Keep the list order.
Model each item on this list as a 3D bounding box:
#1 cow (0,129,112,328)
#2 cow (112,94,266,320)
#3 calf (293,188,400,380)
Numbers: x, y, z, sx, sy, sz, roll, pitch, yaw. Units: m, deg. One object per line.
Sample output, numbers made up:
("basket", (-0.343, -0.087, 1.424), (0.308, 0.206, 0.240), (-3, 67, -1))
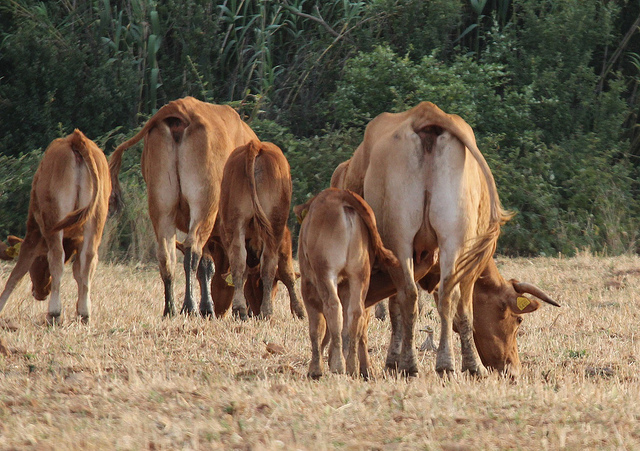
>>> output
("cow", (-3.822, 0.016, 14.163), (1.226, 2.792, 1.330), (3, 12, 4))
("cow", (-2.006, -0.166, 16.985), (1.591, 3.560, 6.380), (-2, -5, 9))
("calf", (0.280, 0.736, 12.456), (1.162, 2.346, 0.944), (3, 12, 4))
